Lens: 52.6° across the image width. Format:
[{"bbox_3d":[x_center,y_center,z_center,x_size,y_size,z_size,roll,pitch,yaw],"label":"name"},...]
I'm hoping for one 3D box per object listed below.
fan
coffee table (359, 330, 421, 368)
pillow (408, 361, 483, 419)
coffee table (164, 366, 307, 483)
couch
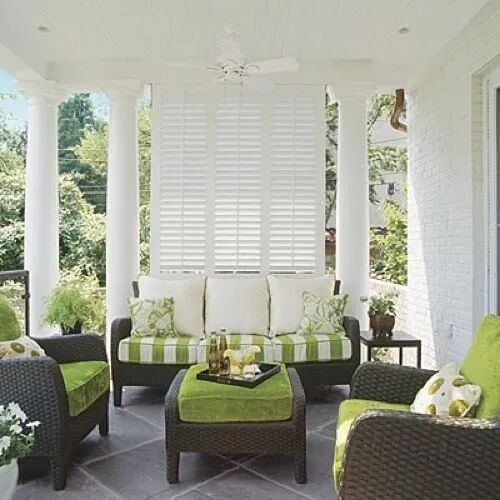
[{"bbox_3d":[-0.138,-1.389,3.617,0.793,0.280,0.775,-15,14,-24],"label":"fan"},{"bbox_3d":[1.198,0.771,4.376,0.419,0.378,0.416,-2,5,-2],"label":"coffee table"},{"bbox_3d":[0.901,0.634,2.410,0.267,0.227,0.313,3,1,7],"label":"pillow"},{"bbox_3d":[-0.082,1.054,3.228,0.960,0.477,1.186,0,-2,1],"label":"coffee table"},{"bbox_3d":[-0.114,0.762,4.458,2.076,0.981,0.824,0,4,-4],"label":"couch"}]
